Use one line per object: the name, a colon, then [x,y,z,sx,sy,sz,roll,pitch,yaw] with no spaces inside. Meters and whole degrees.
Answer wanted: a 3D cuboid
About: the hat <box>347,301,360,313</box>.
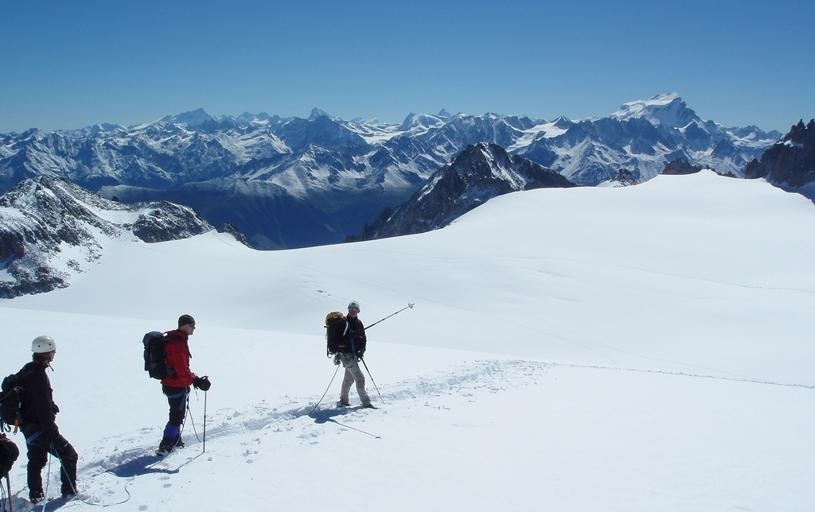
hat: [-4.389,4.220,64.176,0.840,0.808,1.030,6,21,0]
